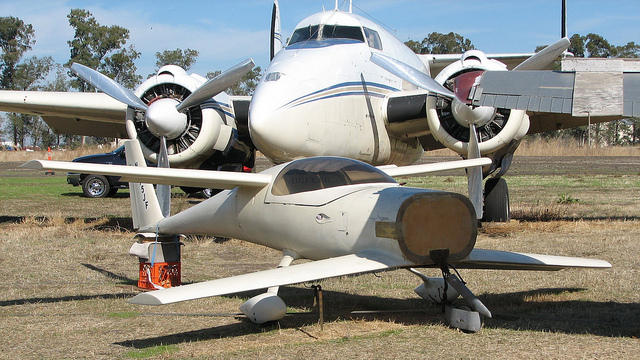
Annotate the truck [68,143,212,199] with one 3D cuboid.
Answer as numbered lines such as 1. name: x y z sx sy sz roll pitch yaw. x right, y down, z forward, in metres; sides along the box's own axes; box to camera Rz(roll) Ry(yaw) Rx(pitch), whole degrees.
1. truck: -9.435 -0.186 32.239 7.712 2.901 3.718 2 1 7

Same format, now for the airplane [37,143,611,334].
1. airplane: -1.188 1.554 18.845 13.066 3.383 12.399 2 -3 -35
